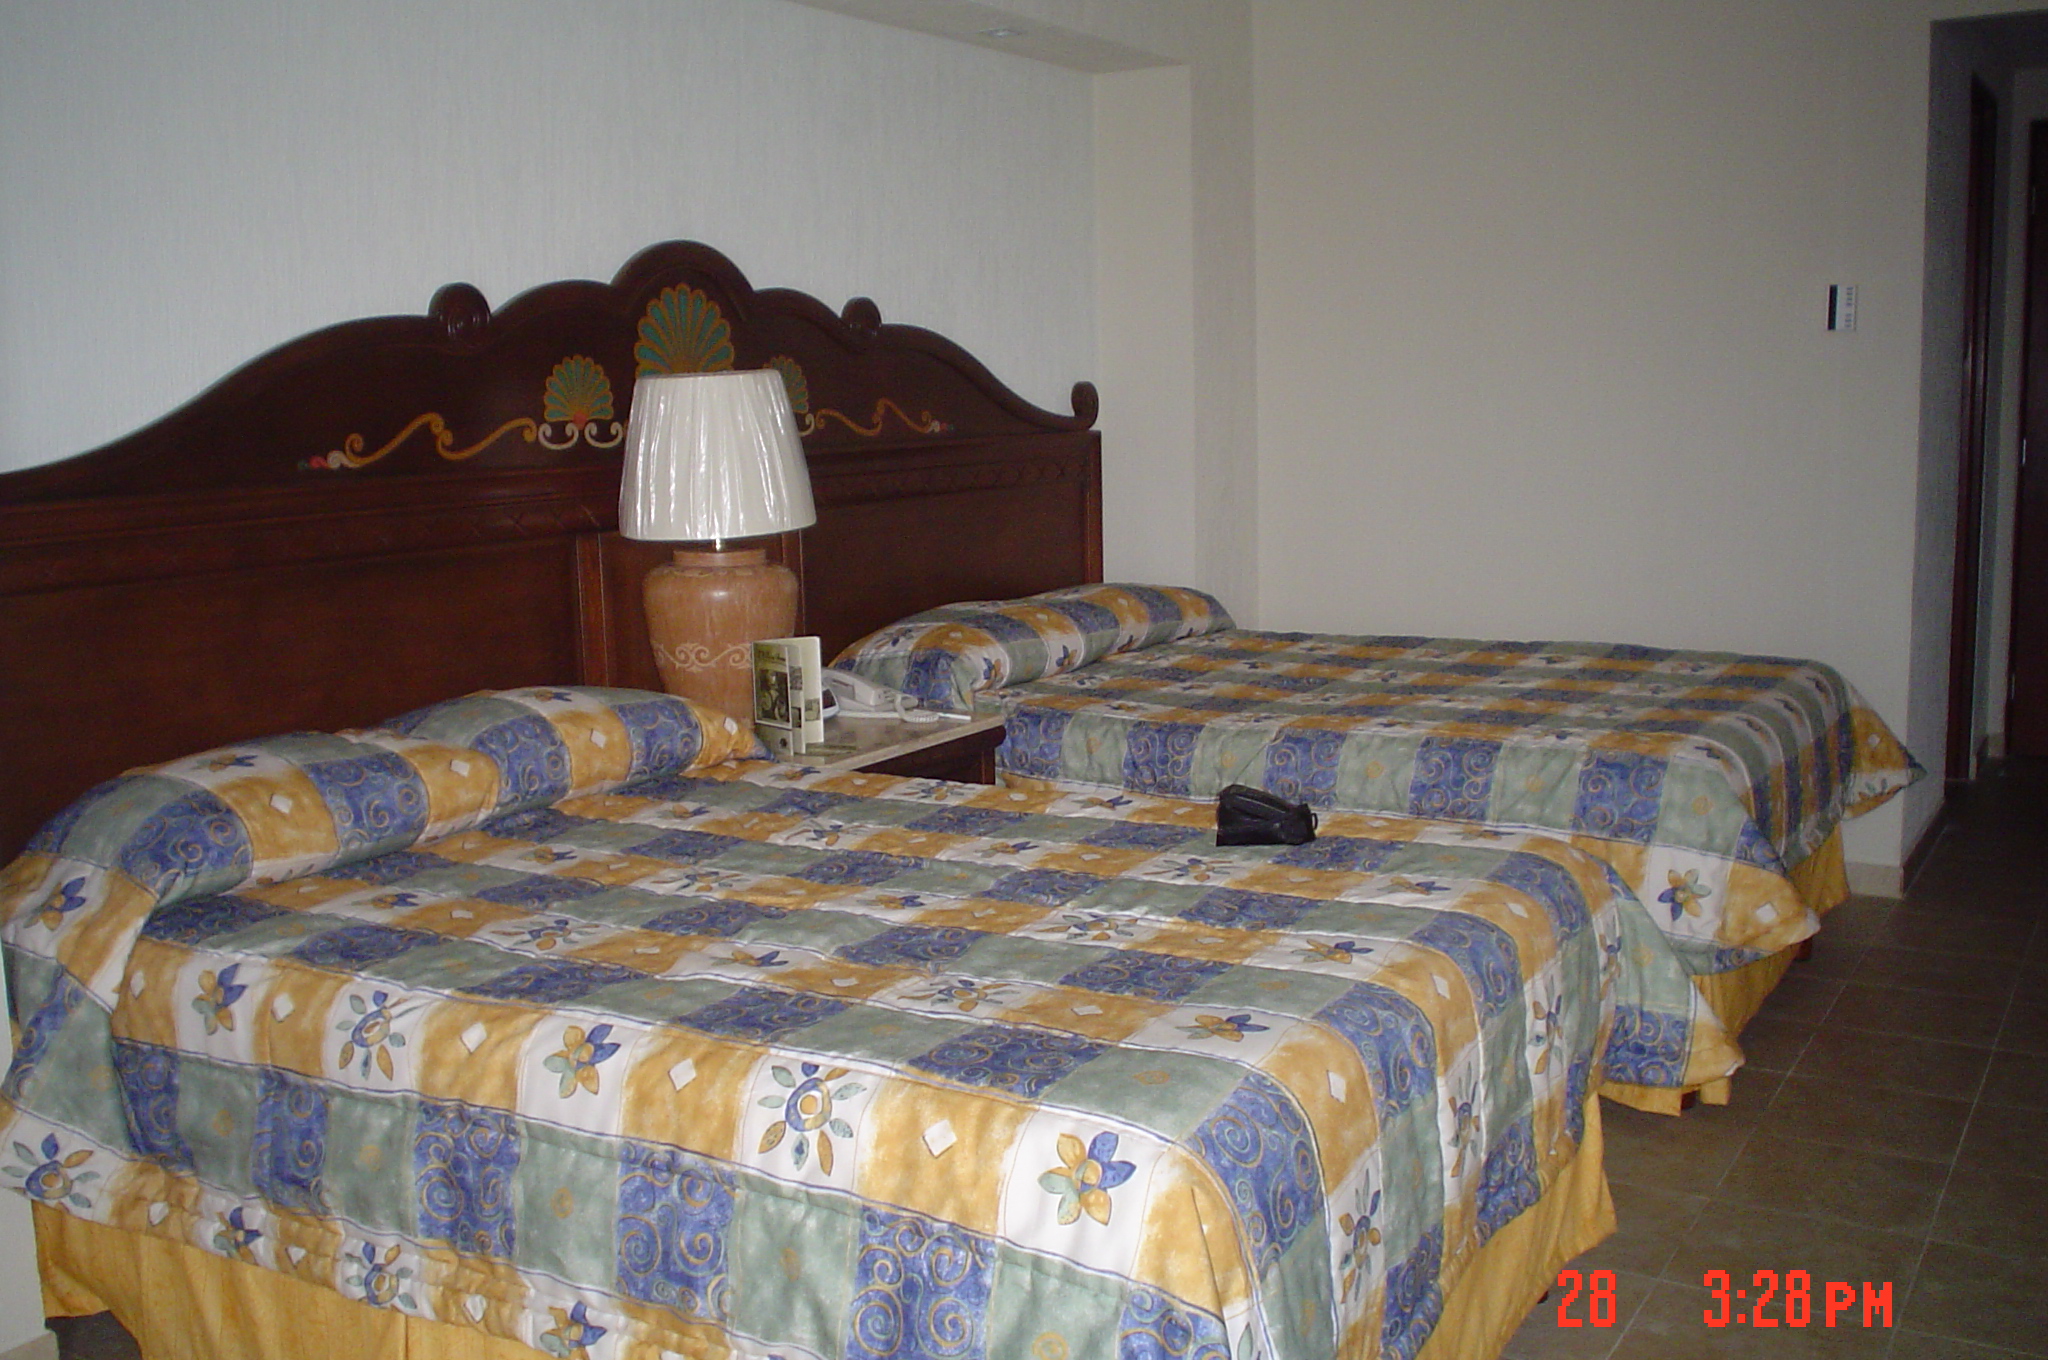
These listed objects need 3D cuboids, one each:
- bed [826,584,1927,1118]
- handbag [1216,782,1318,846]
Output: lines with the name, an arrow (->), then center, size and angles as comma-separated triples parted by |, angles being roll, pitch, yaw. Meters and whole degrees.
bed -> 1.021, 0.172, 4.407 | 2.190, 0.748, 1.882 | 5, 15, 29
handbag -> 0.528, 0.292, 3.234 | 0.163, 0.083, 0.129 | 4, 6, 30
